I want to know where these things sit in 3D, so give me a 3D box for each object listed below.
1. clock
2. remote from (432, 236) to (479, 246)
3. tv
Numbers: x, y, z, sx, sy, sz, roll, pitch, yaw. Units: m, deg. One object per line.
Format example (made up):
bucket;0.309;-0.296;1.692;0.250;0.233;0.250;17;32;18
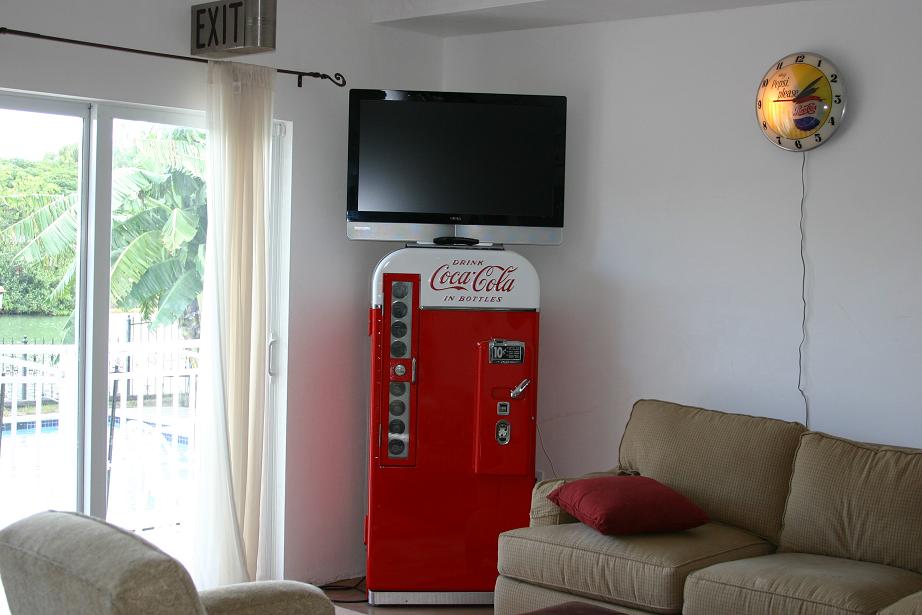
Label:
clock;1.852;-1.113;3.915;0.549;0.592;0.083;7;4;39
remote;-0.035;-0.384;4.225;0.260;0.065;0.182;0;1;0
tv;-0.047;-0.824;4.301;0.983;0.689;0.116;1;-2;-3
